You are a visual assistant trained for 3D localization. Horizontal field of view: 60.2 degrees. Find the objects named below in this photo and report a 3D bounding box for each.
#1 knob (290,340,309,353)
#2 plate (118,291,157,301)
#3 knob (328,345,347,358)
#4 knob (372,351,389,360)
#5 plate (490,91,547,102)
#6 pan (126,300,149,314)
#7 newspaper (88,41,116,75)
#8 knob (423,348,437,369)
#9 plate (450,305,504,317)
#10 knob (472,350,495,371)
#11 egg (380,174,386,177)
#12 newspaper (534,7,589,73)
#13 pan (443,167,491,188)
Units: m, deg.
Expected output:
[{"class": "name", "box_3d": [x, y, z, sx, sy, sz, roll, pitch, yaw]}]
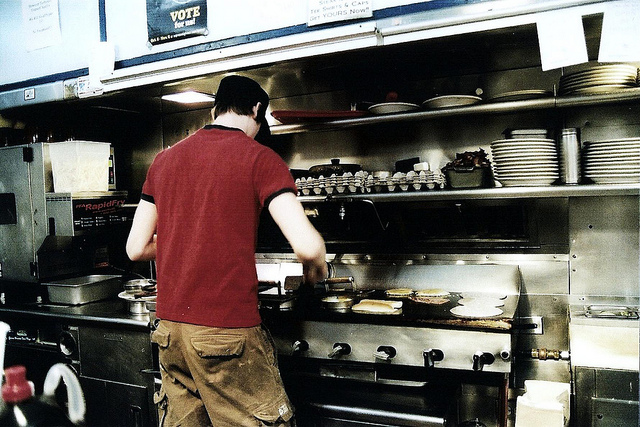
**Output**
[{"class": "knob", "box_3d": [-0.120, 0.792, 3.314, 0.062, 0.051, 0.092, 6, 16, 43]}, {"class": "plate", "box_3d": [-1.273, 0.586, 3.868, 0.456, 0.041, 0.082, -2, -1, 39]}, {"class": "knob", "box_3d": [0.105, 0.804, 3.238, 0.098, 0.067, 0.030, -1, -1, -7]}, {"class": "knob", "box_3d": [0.349, 0.809, 3.154, 0.096, 0.045, 0.039, -1, -1, 18]}, {"class": "plate", "box_3d": [1.221, -0.719, 3.382, 0.328, 0.053, 0.052, -1, -1, 12]}, {"class": "pan", "box_3d": [-1.292, 0.652, 3.928, 0.122, 0.101, 0.114, 0, -3, -2]}, {"class": "newspaper", "box_3d": [-1.622, -1.164, 4.085, 0.192, 0.264, 0.193, -6, 28, -34]}, {"class": "knob", "box_3d": [0.617, 0.807, 3.093, 0.075, 0.101, 0.054, -1, -1, 18]}, {"class": "plate", "box_3d": [0.927, 0.574, 3.253, 0.295, 0.035, 0.182, -1, -1, 12]}, {"class": "knob", "box_3d": [0.887, 0.792, 3.001, 0.116, 0.097, 0.090, 10, -12, -23]}, {"class": "egg", "box_3d": [0.404, -0.247, 3.560, 0.028, 0.018, 0.013, -1, -1, 8]}, {"class": "newspaper", "box_3d": [1.296, -0.948, 2.975, 0.253, 0.319, 0.036, -1, -1, 22]}, {"class": "pan", "box_3d": [0.911, -0.212, 3.410, 0.197, 0.078, 0.151, -2, -1, 20]}]
